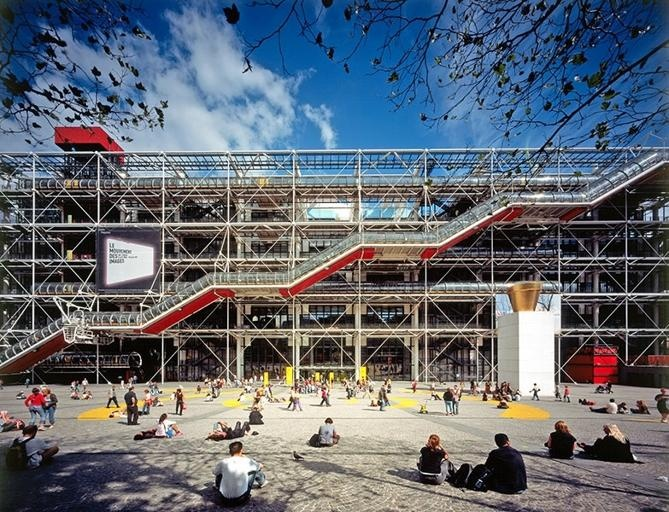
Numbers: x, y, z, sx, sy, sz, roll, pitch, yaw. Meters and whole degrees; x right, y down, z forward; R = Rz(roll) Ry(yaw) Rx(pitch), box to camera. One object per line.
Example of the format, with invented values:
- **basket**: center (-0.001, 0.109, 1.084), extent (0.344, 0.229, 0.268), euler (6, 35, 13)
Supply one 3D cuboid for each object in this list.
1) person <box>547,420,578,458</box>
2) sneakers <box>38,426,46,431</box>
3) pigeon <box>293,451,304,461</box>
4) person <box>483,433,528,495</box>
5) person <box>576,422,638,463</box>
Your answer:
- **person**: center (9.035, 7.208, 25.158), extent (1.014, 1.468, 1.565), euler (4, -2, 4)
- **sneakers**: center (-12.981, 7.596, 28.045), extent (0.393, 0.163, 0.131), euler (0, -8, -4)
- **pigeon**: center (-1.359, 7.766, 24.735), extent (0.421, 0.317, 0.518), euler (3, -12, -4)
- **person**: center (6.175, 7.387, 22.629), extent (1.386, 2.046, 0.795), euler (0, -12, 13)
- **person**: center (10.782, 7.234, 24.661), extent (1.944, 1.422, 0.465), euler (-3, -13, 22)
